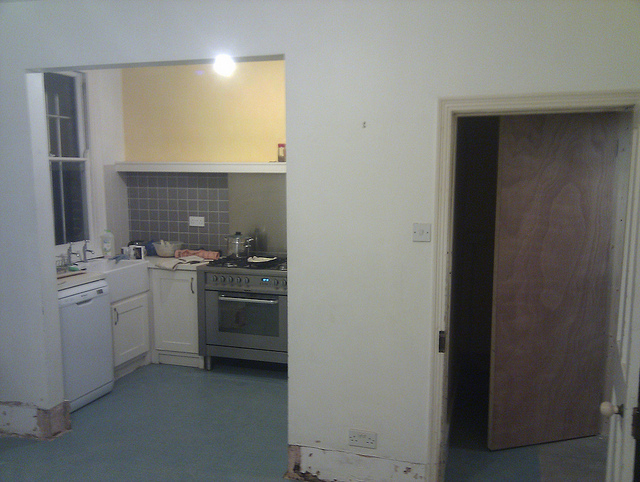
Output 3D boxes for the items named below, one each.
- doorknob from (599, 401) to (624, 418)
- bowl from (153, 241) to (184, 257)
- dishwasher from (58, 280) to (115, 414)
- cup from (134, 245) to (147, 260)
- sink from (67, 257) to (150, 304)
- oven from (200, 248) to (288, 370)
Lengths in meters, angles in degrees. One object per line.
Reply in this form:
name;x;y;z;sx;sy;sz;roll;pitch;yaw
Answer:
doorknob;1.489;0.860;2.957;0.134;0.068;0.064;-1;22;-6
bowl;-1.427;0.063;5.477;0.205;0.149;0.309;7;12;36
dishwasher;-1.820;0.797;4.429;0.097;0.924;0.512;4;11;23
cup;-1.642;0.104;5.185;0.126;0.127;0.080;1;2;-43
sink;-1.828;0.333;5.021;0.419;0.298;0.523;3;11;23
oven;-0.722;0.741;5.232;0.847;0.899;0.696;9;-26;-24
